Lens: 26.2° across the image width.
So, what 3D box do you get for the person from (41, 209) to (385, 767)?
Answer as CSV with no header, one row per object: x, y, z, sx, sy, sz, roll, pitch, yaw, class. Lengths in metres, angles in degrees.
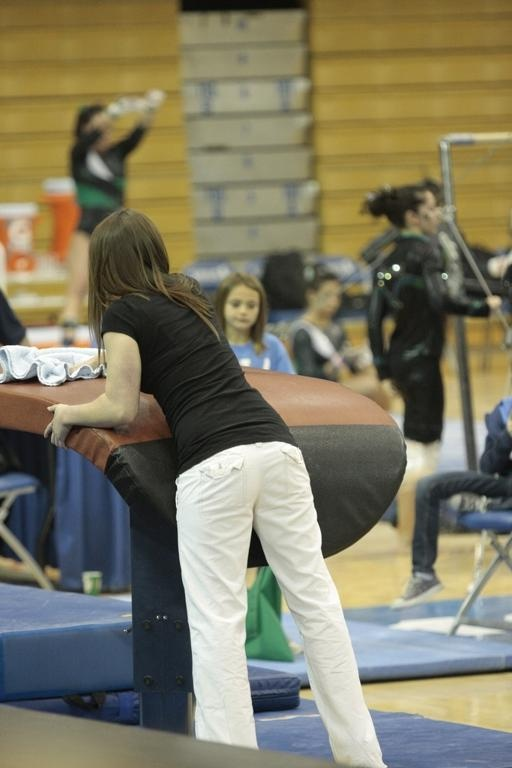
-0.115,0.205,2.209,0.369,1.131,0.582,-11,10,-42,person

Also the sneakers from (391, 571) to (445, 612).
0.543,0.705,3.741,0.066,0.082,0.193,-33,3,-35,sneakers
